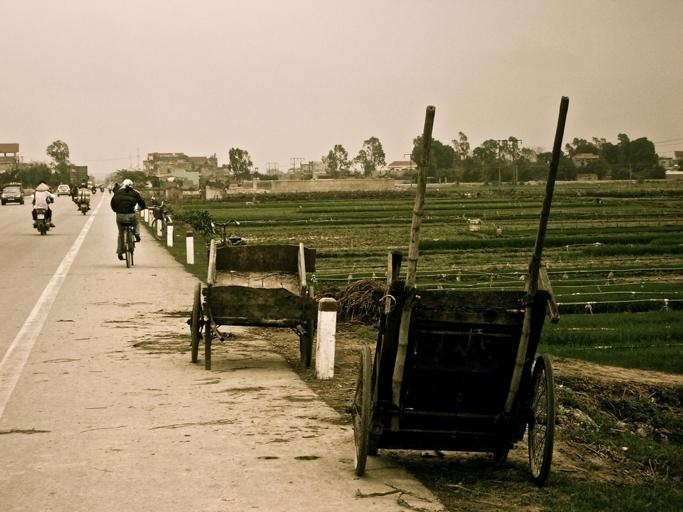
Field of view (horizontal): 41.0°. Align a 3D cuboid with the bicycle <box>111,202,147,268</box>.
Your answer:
[{"bbox_3d":[-6.141,-0.701,26.479,0.966,1.839,0.957,-1,10,-15],"label":"bicycle"}]

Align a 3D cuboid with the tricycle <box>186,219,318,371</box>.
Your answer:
[{"bbox_3d":[-1.410,0.734,15.128,1.616,1.143,2.536,1,14,-5],"label":"tricycle"}]

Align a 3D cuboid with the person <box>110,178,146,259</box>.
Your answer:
[{"bbox_3d":[-6.042,-1.024,26.259,0.981,2.484,1.047,-1,9,-14],"label":"person"}]
